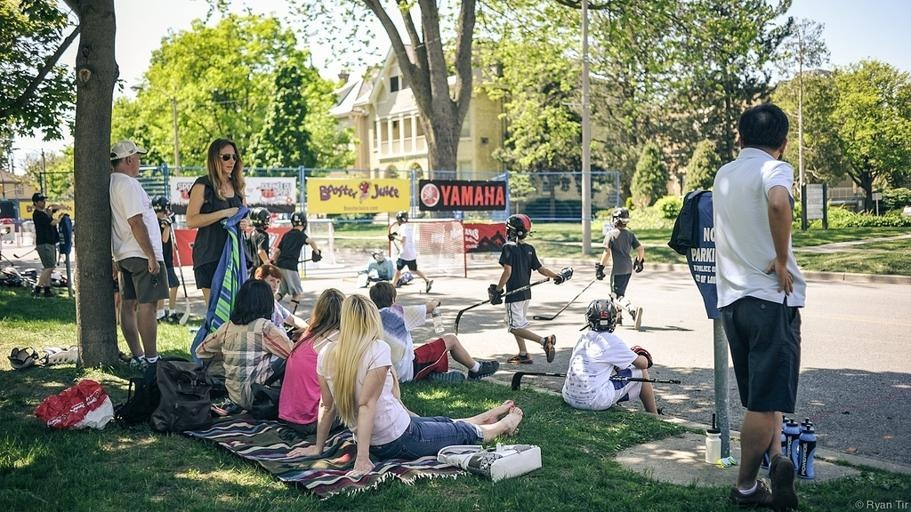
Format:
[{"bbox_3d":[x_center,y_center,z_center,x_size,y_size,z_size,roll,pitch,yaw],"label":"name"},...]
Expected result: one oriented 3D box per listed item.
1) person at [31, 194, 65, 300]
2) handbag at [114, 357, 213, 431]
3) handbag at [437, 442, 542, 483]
[{"bbox_3d":[-12.314,-0.333,27.394,1.089,3.219,1.106,3,0,-2],"label":"person"},{"bbox_3d":[-5.637,2.770,17.624,1.588,1.529,1.103,0,0,-4],"label":"handbag"},{"bbox_3d":[0.679,3.859,17.420,2.067,0.603,1.007,-1,-1,-4],"label":"handbag"}]
